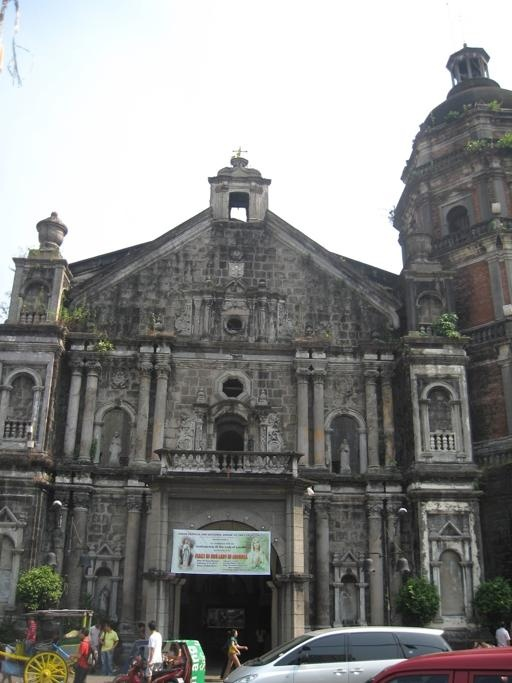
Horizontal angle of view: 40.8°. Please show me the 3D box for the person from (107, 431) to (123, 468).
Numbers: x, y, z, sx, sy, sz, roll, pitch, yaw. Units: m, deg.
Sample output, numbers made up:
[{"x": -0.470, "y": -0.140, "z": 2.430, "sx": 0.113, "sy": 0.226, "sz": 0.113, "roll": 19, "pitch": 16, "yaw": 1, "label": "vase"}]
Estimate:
[{"x": -4.900, "y": 3.701, "z": 23.709, "sx": 0.470, "sy": 1.234, "sz": 0.357, "roll": 3, "pitch": -23, "yaw": -8, "label": "person"}]

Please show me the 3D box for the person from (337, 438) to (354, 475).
[{"x": 3.146, "y": 4.037, "z": 24.054, "sx": 0.459, "sy": 1.249, "sz": 0.415, "roll": -2, "pitch": -22, "yaw": 3, "label": "person"}]
